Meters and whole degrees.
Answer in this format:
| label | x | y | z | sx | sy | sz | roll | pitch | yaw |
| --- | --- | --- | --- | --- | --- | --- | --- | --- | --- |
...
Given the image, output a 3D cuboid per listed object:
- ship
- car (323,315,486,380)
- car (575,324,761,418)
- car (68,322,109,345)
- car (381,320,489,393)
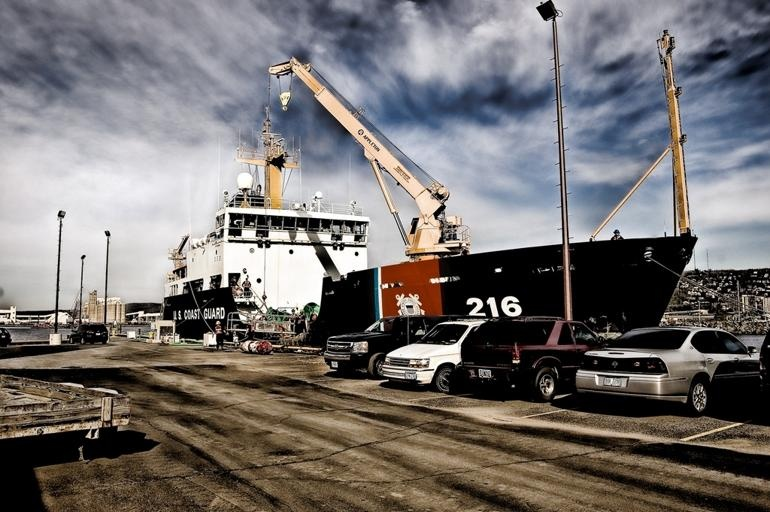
| label | x | y | z | sx | sy | sz | roll | pitch | yaw |
| --- | --- | --- | --- | --- | --- | --- | --- | --- | --- |
| ship | -2.212 | -0.921 | 32.672 | 36.076 | 12.896 | 5.385 | -4 | -7 | 39 |
| car | 0.768 | 3.085 | 21.482 | 5.619 | 2.080 | 3.076 | 5 | -7 | -36 |
| car | 6.615 | 2.448 | 14.016 | 4.151 | 1.390 | 1.840 | 1 | -6 | -31 |
| car | -21.170 | 5.562 | 44.717 | 1.752 | 1.190 | 3.087 | 4 | -3 | -44 |
| car | 2.142 | 2.805 | 17.983 | 4.176 | 1.942 | 2.416 | 2 | -5 | -32 |
